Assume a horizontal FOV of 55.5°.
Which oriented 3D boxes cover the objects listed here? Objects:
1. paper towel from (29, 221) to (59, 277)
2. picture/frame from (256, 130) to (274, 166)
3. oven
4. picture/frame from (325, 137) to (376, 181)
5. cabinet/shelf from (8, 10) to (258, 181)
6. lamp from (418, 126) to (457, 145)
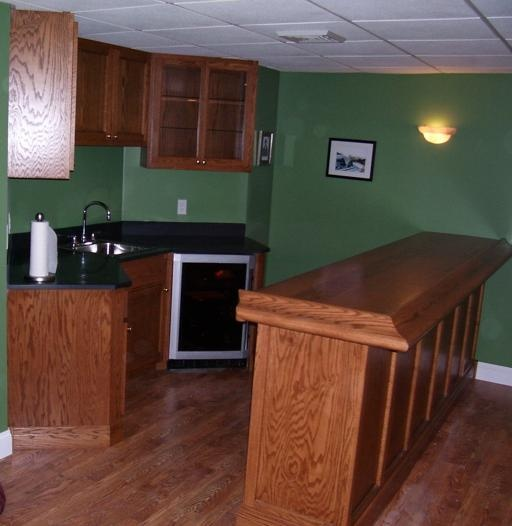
[{"bbox_3d":[-1.129,-0.068,2.539,0.155,0.301,0.170,1,1,17],"label":"paper towel"},{"bbox_3d":[0.081,-1.035,4.377,0.078,0.325,0.304,6,9,20],"label":"picture/frame"},{"bbox_3d":[-0.431,0.356,4.025,0.746,0.934,0.708,2,5,-12],"label":"oven"},{"bbox_3d":[0.845,-0.919,4.250,0.381,0.315,0.027,9,12,28],"label":"picture/frame"},{"bbox_3d":[-0.711,-1.001,3.190,0.609,0.950,1.816,8,10,31],"label":"cabinet/shelf"},{"bbox_3d":[1.427,-1.015,3.853,0.279,0.138,0.152,6,9,22],"label":"lamp"}]
